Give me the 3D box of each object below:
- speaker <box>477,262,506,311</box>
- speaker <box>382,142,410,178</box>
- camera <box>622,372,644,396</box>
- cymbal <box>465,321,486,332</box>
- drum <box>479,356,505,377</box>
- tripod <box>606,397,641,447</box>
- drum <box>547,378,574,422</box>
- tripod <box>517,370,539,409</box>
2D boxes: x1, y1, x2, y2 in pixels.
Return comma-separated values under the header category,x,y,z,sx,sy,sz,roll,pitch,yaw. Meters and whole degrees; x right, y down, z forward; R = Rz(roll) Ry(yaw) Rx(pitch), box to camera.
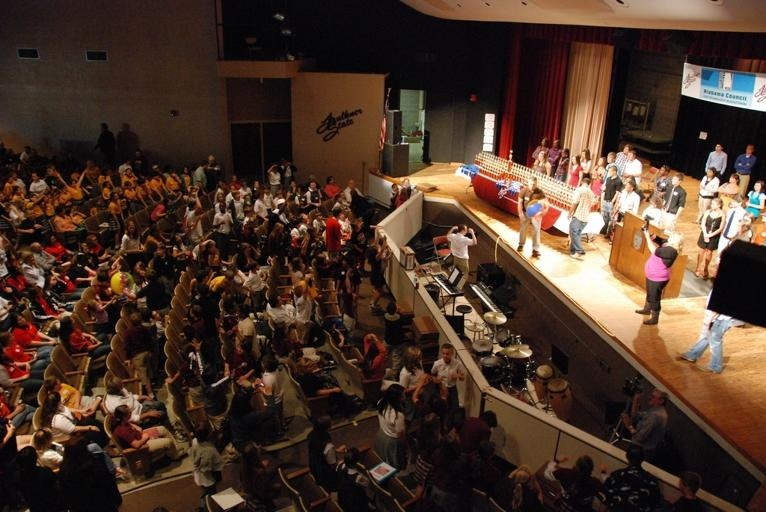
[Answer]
category,x,y,z,sx,sy,sz,roll,pitch,yaw
speaker,2.603,0.795,12.437,0.482,0.522,0.929,-1,27,-8
speaker,0.467,-3.361,18.009,0.846,1.079,0.838,-15,24,-38
camera,3.954,2.084,8.175,0.240,0.352,0.478,7,21,31
cymbal,1.916,1.496,10.716,0.246,0.061,0.252,18,28,37
drum,1.910,1.973,9.092,0.328,0.219,0.340,-3,22,1
tripod,3.898,2.644,8.249,0.420,0.818,0.465,15,-4,-13
drum,3.043,2.592,8.987,0.379,0.801,0.585,5,19,26
tripod,2.585,2.453,9.196,0.187,0.240,0.595,-10,28,0
